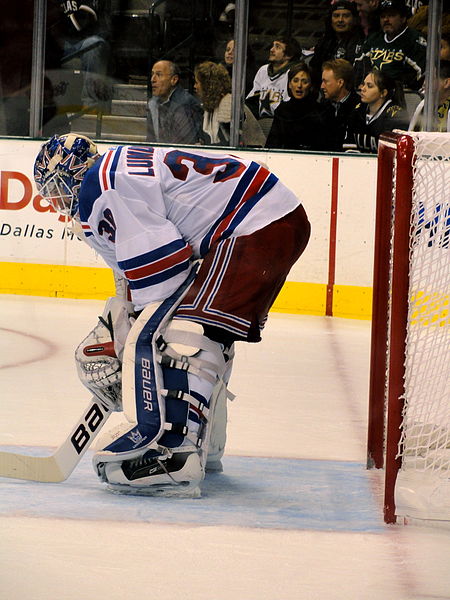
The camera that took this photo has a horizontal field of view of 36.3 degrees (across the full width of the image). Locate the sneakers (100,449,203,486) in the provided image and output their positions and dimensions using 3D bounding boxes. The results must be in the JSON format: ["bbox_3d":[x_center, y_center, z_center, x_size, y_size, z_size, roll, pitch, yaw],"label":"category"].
[{"bbox_3d":[-0.192,0.457,1.854,0.316,0.108,0.104,2,-20,2],"label":"sneakers"}]

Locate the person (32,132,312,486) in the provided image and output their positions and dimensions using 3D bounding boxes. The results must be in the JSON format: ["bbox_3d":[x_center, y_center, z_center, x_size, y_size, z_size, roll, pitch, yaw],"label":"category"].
[{"bbox_3d":[-0.101,0.044,1.962,0.655,0.955,0.321,3,4,-2],"label":"person"}]
